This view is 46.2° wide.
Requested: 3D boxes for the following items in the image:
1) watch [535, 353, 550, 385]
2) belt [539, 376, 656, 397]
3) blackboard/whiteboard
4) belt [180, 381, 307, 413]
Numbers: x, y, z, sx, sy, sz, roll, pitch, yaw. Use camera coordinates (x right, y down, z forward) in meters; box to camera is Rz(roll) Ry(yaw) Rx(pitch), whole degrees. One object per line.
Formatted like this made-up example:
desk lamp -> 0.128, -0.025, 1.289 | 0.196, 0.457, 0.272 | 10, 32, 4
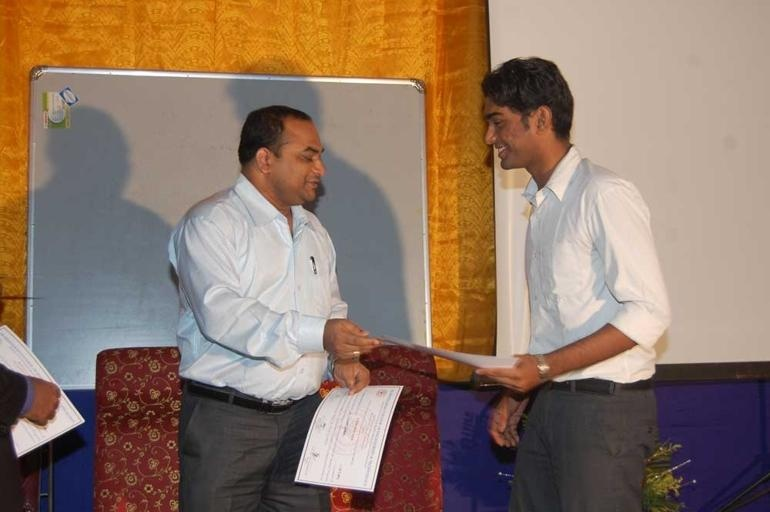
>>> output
watch -> 0.735, 0.521, 4.193 | 0.055, 0.112, 0.026 | -15, 3, -2
belt -> 1.014, 0.617, 4.296 | 0.506, 0.088, 0.110 | 2, 7, 10
blackboard/whiteboard -> -0.983, -0.140, 4.990 | 1.581, 1.370, 0.066 | 1, -7, -10
belt -> -0.700, 0.685, 4.385 | 0.541, 0.152, 0.102 | 0, 7, -4
